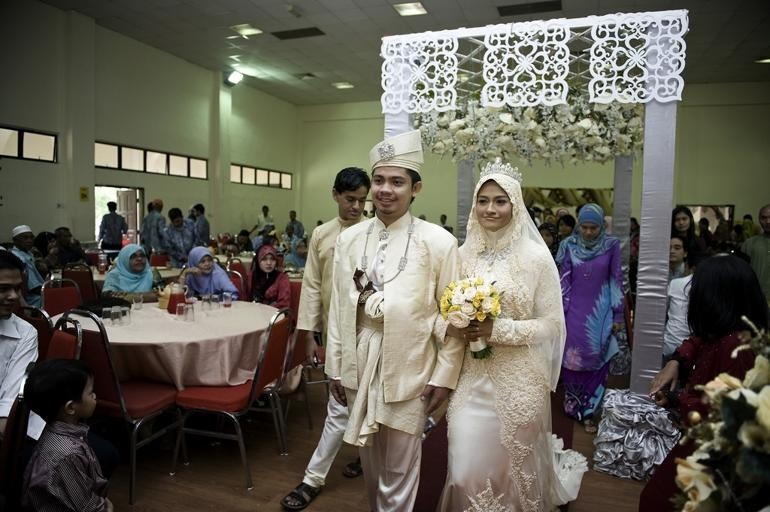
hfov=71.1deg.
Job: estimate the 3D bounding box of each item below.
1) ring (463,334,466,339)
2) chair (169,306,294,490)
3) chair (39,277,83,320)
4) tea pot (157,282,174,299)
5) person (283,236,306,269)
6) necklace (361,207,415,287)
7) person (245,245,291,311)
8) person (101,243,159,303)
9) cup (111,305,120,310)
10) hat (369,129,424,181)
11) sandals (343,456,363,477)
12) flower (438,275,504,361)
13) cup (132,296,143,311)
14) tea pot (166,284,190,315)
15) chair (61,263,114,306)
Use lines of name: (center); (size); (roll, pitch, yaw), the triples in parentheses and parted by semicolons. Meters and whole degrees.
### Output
ring: (0.461, 0.454, 3.086); (0.006, 0.021, 0.021); (3, 36, 40)
chair: (-1.170, 1.021, 4.199); (0.751, 1.245, 0.716); (2, 3, 12)
chair: (-3.095, 0.392, 5.113); (0.328, 0.484, 0.283); (10, 11, 32)
tea pot: (-1.984, 0.306, 4.929); (0.105, 0.158, 0.166); (12, 17, 36)
person: (-1.612, -0.078, 9.505); (0.343, 0.475, 0.718); (1, 10, 6)
necklace: (0.021, -0.036, 3.324); (0.265, 0.468, 0.126); (1, -18, 33)
person: (-1.285, 0.250, 5.682); (0.498, 0.778, 0.483); (6, 11, 4)
person: (-2.591, 0.196, 5.532); (0.720, 0.651, 0.451); (0, 4, -26)
cup: (-2.153, 0.405, 4.274); (0.053, 0.038, 0.039); (3, -10, -34)
hat: (0.076, -0.675, 3.351); (0.345, 0.253, 0.417); (7, 5, 14)
sandals: (-0.236, 1.615, 4.114); (0.086, 0.156, 0.251); (-4, -16, 23)
flower: (0.542, 0.358, 3.086); (0.425, 0.499, 0.290); (-3, 6, -43)
cup: (-2.276, 0.422, 4.912); (0.105, 0.153, 0.084); (3, -6, -30)
tea pot: (-1.813, 0.350, 4.643); (0.170, 0.281, 0.278); (4, -7, -3)
chair: (-3.695, 0.450, 6.620); (0.427, 0.824, 0.479); (2, 6, -1)
